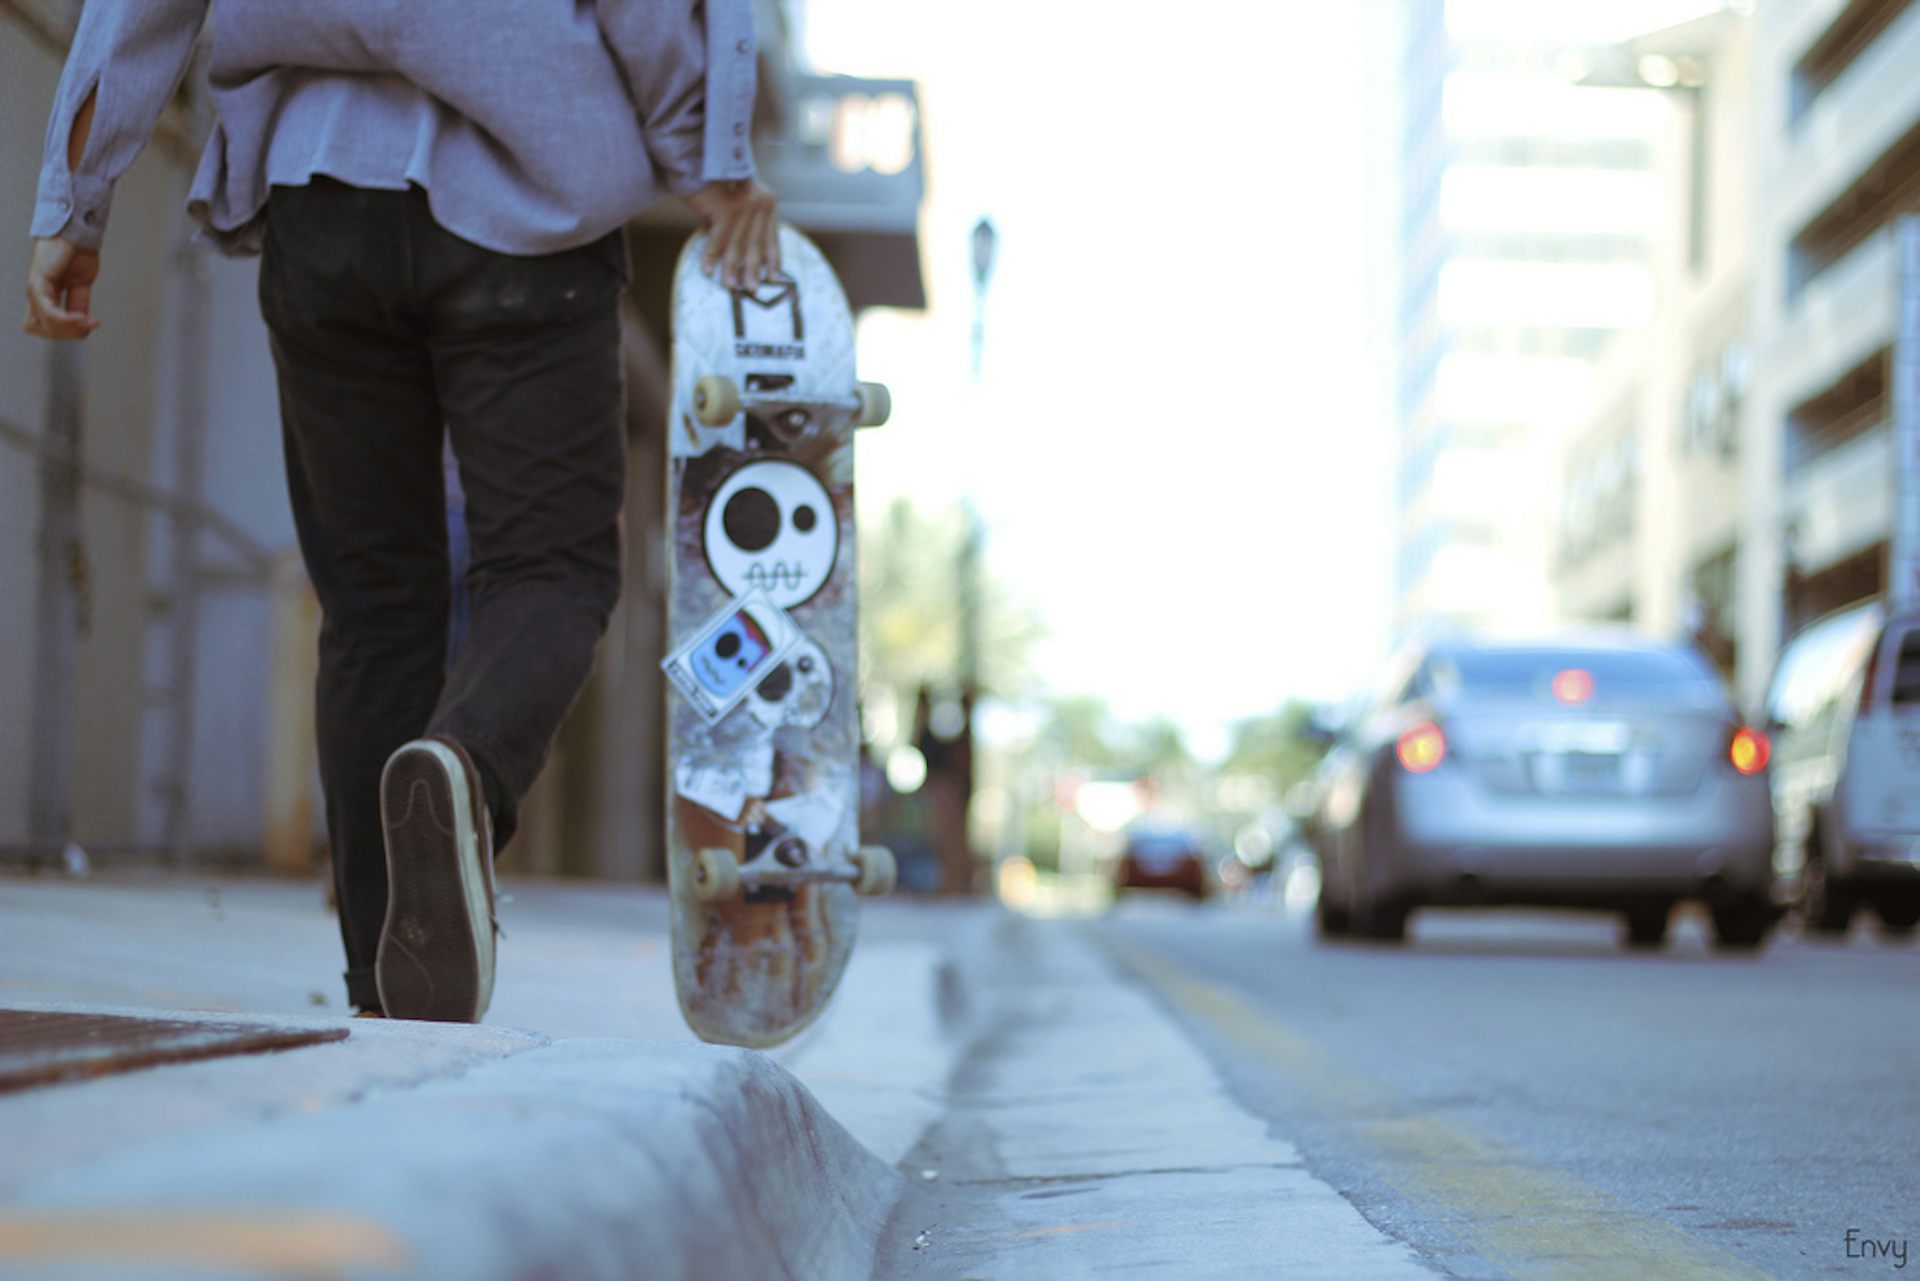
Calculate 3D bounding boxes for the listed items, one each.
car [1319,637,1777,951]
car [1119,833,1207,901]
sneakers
[{"bbox_3d":[2.477,0.630,8.798,1.894,1.435,1.139,-1,-5,24],"label":"car"},{"bbox_3d":[4.018,4.398,39.661,1.969,1.234,1.264,-1,-5,31],"label":"car"},{"bbox_3d":[-0.860,0.391,3.337,0.211,0.456,0.160,1,-3,6],"label":"sneakers"}]
